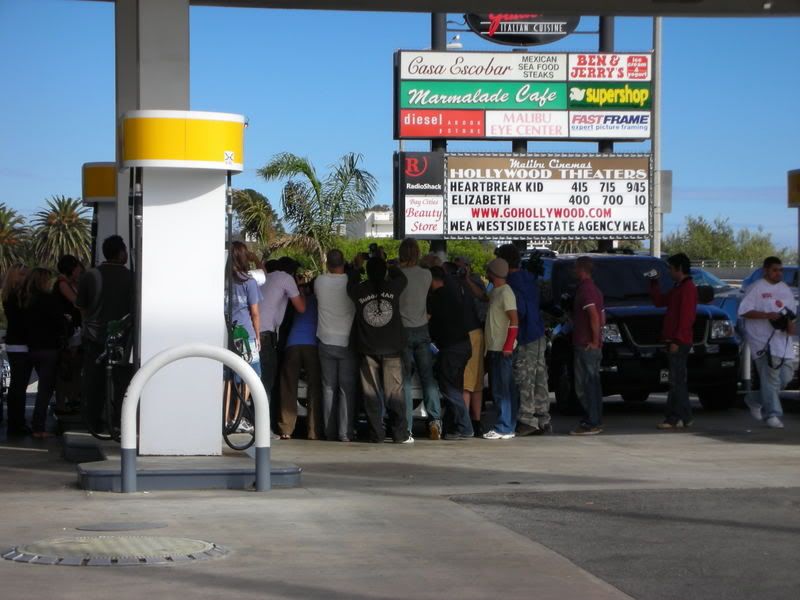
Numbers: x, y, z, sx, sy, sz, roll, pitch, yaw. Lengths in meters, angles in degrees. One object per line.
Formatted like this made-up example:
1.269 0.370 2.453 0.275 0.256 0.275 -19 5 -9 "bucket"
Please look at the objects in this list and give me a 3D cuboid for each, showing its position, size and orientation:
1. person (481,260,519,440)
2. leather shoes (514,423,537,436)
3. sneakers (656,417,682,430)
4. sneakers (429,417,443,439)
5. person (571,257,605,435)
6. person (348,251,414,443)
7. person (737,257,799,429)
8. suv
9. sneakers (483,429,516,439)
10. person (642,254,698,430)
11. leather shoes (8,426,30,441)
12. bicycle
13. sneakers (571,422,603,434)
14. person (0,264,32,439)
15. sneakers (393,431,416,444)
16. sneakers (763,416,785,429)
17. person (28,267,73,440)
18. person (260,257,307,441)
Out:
1.183 0.553 14.183 0.418 2.129 0.562 -1 -1 5 "person"
1.480 1.538 14.350 0.302 0.137 0.105 4 1 -14 "leather shoes"
3.298 1.509 14.839 0.269 0.141 0.130 3 1 12 "sneakers"
0.409 1.503 14.179 0.089 0.286 0.186 1 1 -3 "sneakers"
2.234 0.539 14.433 0.358 2.084 0.412 -1 -1 9 "person"
-0.241 0.565 13.748 0.683 2.101 0.359 -1 -1 1 "person"
4.611 0.504 15.084 0.579 2.085 0.547 -1 -1 40 "person"
3.121 0.306 16.718 1.696 1.500 3.003 0 -7 -14 "suv"
1.171 1.571 14.213 0.329 0.151 0.124 7 -3 -17 "sneakers"
3.415 0.498 15.104 0.543 2.124 0.959 -1 -1 12 "person"
-4.491 1.551 14.190 0.173 0.139 0.173 1 -6 6 "leather shoes"
-2.957 0.777 12.282 0.457 1.247 1.482 0 -1 -16 "bicycle"
2.219 1.515 14.383 0.361 0.156 0.142 1 -2 -13 "sneakers"
-4.510 0.603 14.253 0.318 1.949 0.735 0 -1 -20 "person"
0.042 1.563 13.846 0.098 0.131 0.300 3 6 23 "sneakers"
4.597 1.498 14.866 0.112 0.090 0.215 -3 -1 -20 "sneakers"
-4.116 0.596 14.023 0.414 1.926 0.371 0 -1 -19 "person"
-1.412 0.386 14.318 0.485 1.784 0.605 0 -1 -7 "person"
